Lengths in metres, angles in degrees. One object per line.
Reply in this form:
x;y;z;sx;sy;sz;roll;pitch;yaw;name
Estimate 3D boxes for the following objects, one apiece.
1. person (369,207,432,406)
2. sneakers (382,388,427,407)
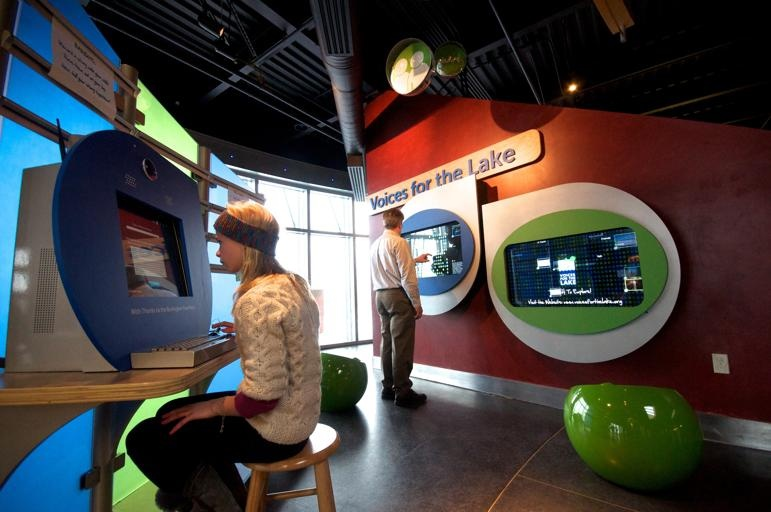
0.127;0.491;4.564;0.440;1.880;0.777;-4;9;-8;person
0.179;1.355;4.478;0.328;0.147;0.197;4;-7;-13;sneakers
